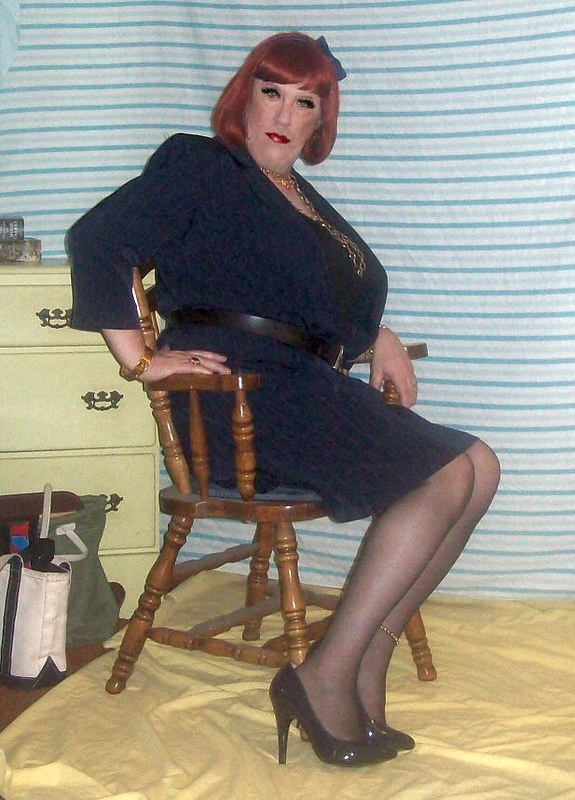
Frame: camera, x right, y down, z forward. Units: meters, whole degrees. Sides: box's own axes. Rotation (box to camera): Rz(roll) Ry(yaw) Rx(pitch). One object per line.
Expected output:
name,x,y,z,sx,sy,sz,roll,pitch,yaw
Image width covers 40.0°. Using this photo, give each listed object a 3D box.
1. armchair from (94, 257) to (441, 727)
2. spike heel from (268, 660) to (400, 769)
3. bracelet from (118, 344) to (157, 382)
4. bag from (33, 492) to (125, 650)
armchair,0.018,0.149,1.676,0.770,0.852,0.716,-5,-2,28
spike heel,0.087,0.543,1.355,0.261,0.157,0.090,-3,-26,23
bracelet,-0.273,-0.063,1.432,0.050,0.066,0.073,18,-3,-26
bag,-0.544,0.450,1.982,0.258,0.307,0.244,11,14,39
